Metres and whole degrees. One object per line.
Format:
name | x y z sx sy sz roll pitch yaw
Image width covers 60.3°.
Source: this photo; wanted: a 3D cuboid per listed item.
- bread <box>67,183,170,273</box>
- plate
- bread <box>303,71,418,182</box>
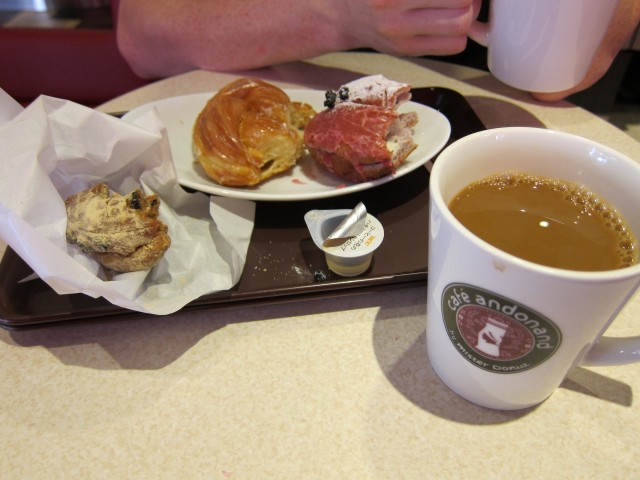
bread | -0.269 -0.003 0.766 0.135 0.048 0.104 31 62 2
plate | -0.038 -0.133 0.957 0.400 0.043 0.268 0 45 3
bread | 0.067 -0.184 0.903 0.188 0.073 0.157 -4 66 12
